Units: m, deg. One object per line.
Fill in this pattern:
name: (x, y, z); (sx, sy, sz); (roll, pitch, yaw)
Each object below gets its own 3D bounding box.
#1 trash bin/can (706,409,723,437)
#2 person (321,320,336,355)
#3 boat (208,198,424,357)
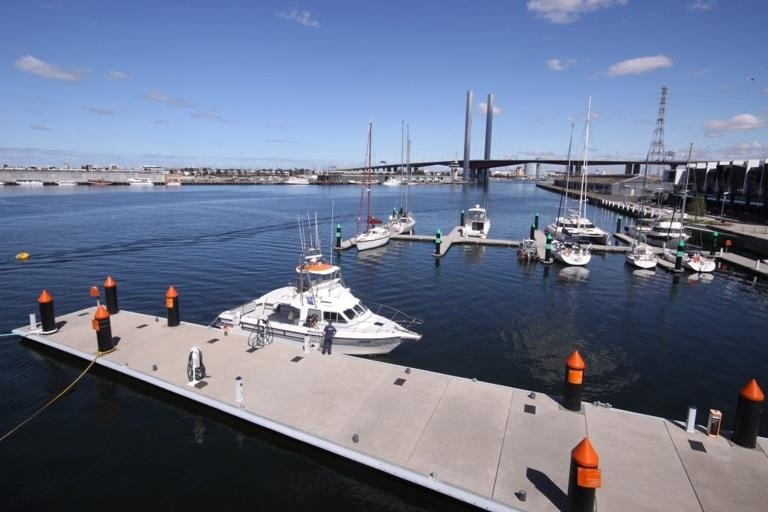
trash bin/can: (13.504, 6.838, 20.346); (0.446, 1.057, 0.594); (9, 16, 34)
person: (-2.828, 4.259, 25.698); (0.732, 1.493, 1.552); (-1, 13, -4)
boat: (-3.804, 2.589, 27.407); (7.270, 5.340, 8.140); (-10, 16, -38)
